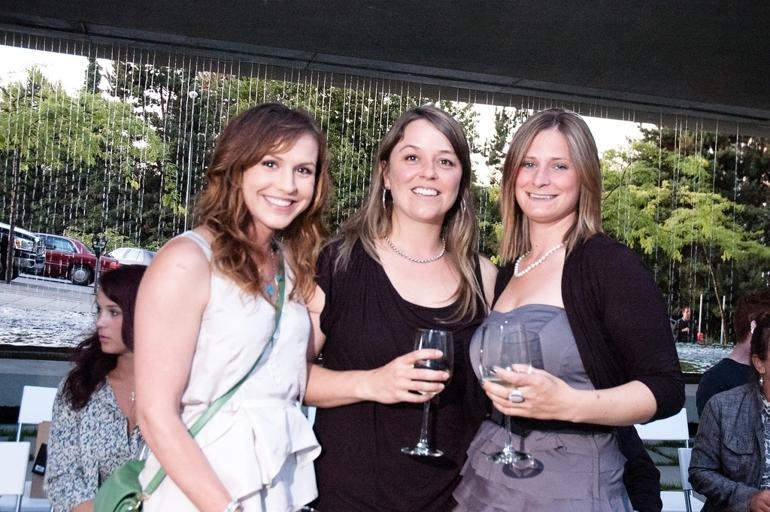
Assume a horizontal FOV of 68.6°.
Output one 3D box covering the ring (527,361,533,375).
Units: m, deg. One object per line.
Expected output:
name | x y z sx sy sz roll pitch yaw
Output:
ring | 0.678 0.536 2.647 0.024 0.033 0.007 -1 -6 -26

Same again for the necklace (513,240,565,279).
necklace | 0.893 0.050 3.285 0.230 0.034 0.190 -35 21 25

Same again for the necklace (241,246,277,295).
necklace | -0.585 0.084 2.771 0.116 0.209 0.052 24 -16 -32

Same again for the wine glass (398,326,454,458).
wine glass | 0.218 0.719 2.910 0.222 0.719 0.284 5 6 7
